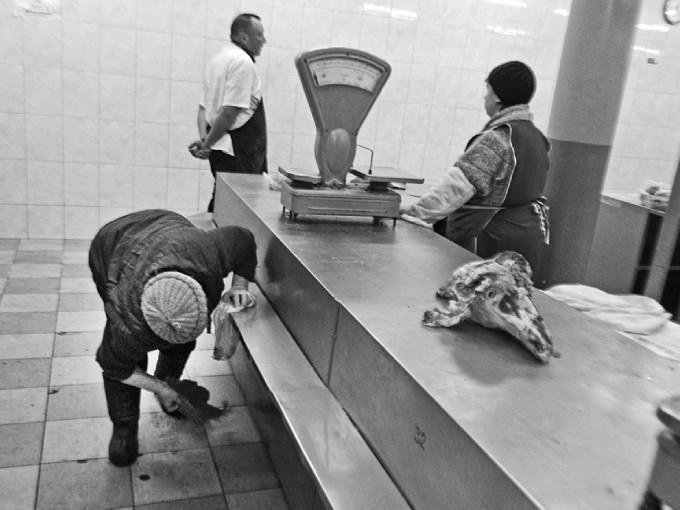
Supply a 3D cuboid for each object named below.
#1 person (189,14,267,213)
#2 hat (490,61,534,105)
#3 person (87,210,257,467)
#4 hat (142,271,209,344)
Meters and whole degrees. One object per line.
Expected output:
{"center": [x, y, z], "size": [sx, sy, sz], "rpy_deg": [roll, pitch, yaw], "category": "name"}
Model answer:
{"center": [-0.925, -1.129, 3.857], "size": [0.622, 1.609, 0.521], "rpy_deg": [1, 20, -9], "category": "person"}
{"center": [0.907, -0.912, 2.506], "size": [0.253, 0.231, 0.135], "rpy_deg": [11, 21, 15], "category": "hat"}
{"center": [-0.762, 0.383, 2.036], "size": [0.709, 1.073, 0.502], "rpy_deg": [14, 22, 24], "category": "person"}
{"center": [-0.575, 0.185, 1.630], "size": [0.222, 0.251, 0.101], "rpy_deg": [3, 13, -7], "category": "hat"}
